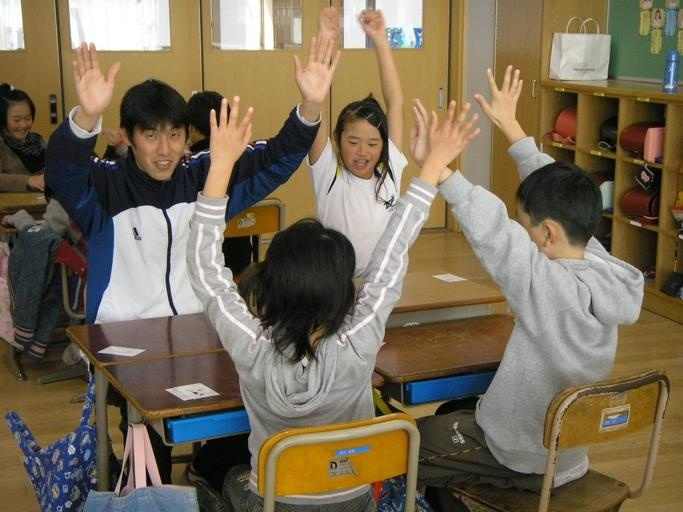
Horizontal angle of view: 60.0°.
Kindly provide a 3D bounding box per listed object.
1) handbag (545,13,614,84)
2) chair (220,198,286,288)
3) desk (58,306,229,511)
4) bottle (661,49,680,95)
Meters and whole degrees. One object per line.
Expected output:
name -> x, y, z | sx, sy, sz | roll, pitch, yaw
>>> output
handbag -> 2.123, -1.853, 5.318 | 0.615, 0.737, 0.247 | 1, 26, -4
chair -> -0.375, -0.076, 2.430 | 0.238, 0.452, 0.273 | -16, 37, -27
desk -> -0.558, 0.332, 1.812 | 0.504, 0.337, 0.513 | -7, 19, -29
bottle -> 2.358, -1.321, 4.241 | 0.086, 0.303, 0.399 | 4, 15, 28
